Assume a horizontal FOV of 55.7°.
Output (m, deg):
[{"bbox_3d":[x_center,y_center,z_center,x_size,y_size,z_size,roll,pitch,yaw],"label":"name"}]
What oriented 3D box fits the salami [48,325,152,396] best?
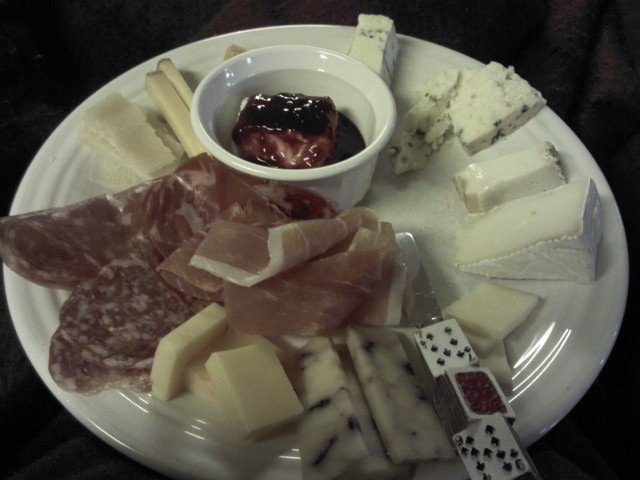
[{"bbox_3d":[-0.590,0.336,1.750,0.348,0.278,0.060,3,-54,-24],"label":"salami"}]
